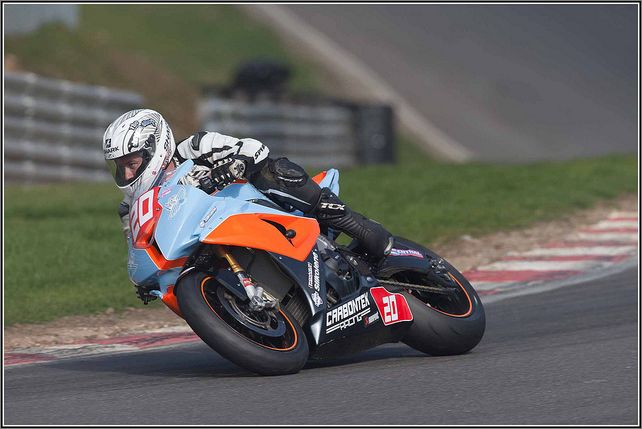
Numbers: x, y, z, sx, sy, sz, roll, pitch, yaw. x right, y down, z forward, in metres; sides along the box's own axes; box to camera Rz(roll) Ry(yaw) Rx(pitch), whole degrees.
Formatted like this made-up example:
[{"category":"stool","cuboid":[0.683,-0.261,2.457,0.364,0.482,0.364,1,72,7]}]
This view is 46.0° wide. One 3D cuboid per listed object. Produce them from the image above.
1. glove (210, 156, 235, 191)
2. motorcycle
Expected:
[{"category":"glove","cuboid":[-0.760,-0.301,5.802,0.184,0.227,0.102,-4,12,-10]},{"category":"motorcycle","cuboid":[-0.148,0.406,6.012,2.546,1.731,0.844,-7,13,-23]}]
